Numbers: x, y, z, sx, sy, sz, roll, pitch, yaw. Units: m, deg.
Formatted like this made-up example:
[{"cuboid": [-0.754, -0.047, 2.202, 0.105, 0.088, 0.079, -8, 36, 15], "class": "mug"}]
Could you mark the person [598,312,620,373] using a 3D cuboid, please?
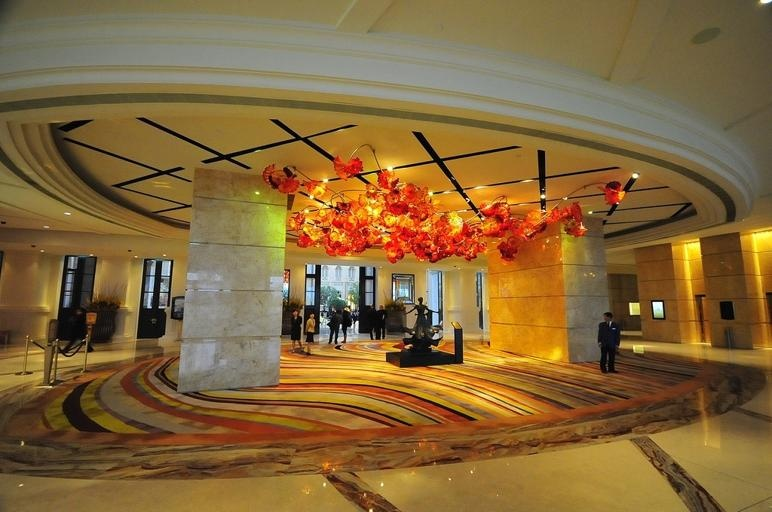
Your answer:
[{"cuboid": [6.246, 2.407, 11.419, 0.478, 1.688, 1.378, 2, 4, 27], "class": "person"}]
